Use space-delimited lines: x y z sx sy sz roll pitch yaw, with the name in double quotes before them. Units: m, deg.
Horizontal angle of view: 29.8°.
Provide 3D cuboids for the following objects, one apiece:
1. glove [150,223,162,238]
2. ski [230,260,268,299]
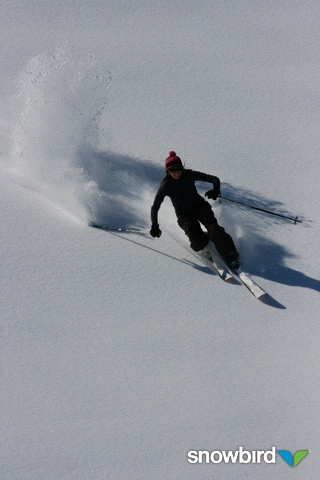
"glove" -0.068 -0.128 8.444 0.186 0.077 0.215 3 88 -2
"ski" 1.129 0.484 8.002 0.181 0.149 1.086 -33 27 0
